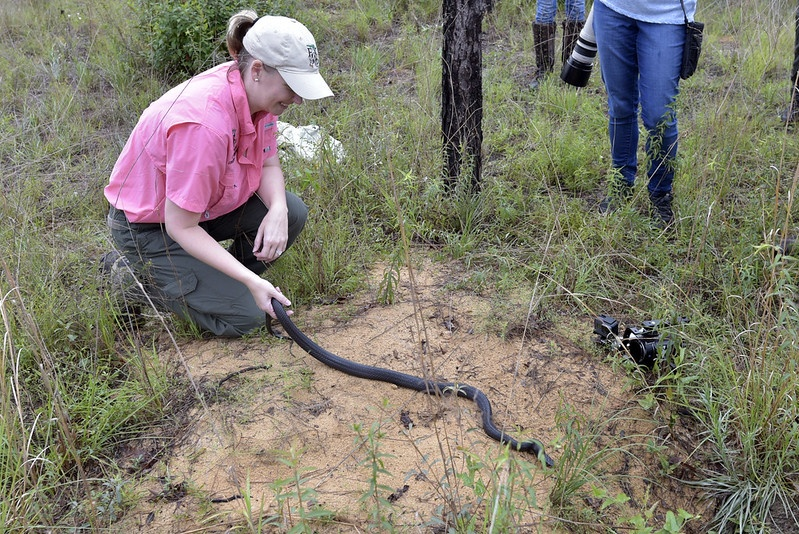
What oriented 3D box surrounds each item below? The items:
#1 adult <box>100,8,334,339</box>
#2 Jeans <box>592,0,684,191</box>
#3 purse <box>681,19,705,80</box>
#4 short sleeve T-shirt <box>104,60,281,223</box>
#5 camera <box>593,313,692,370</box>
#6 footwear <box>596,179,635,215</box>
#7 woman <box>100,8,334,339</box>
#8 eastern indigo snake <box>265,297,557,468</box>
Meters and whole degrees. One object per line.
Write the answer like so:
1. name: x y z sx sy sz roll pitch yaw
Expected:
1. adult: -1.408 -0.663 5.281 1.611 2.306 1.429 17 47 -12
2. Jeans: 2.034 -1.447 5.679 0.376 1.501 0.832 -22 35 -28
3. purse: 2.367 -1.755 5.384 0.262 0.414 0.140 -21 34 -25
4. short sleeve T-shirt: -1.537 -0.902 5.033 0.750 1.050 1.166 27 30 -8
5. camera: 1.701 0.507 4.845 0.487 0.257 0.404 -20 31 -20
6. footwear: 1.919 -0.608 5.862 0.213 0.157 0.347 23 70 8
7. woman: -1.408 -0.663 5.281 1.611 2.306 1.429 17 47 -12
8. eastern indigo snake: 0.090 0.848 4.713 1.686 0.342 0.100 29 46 5
